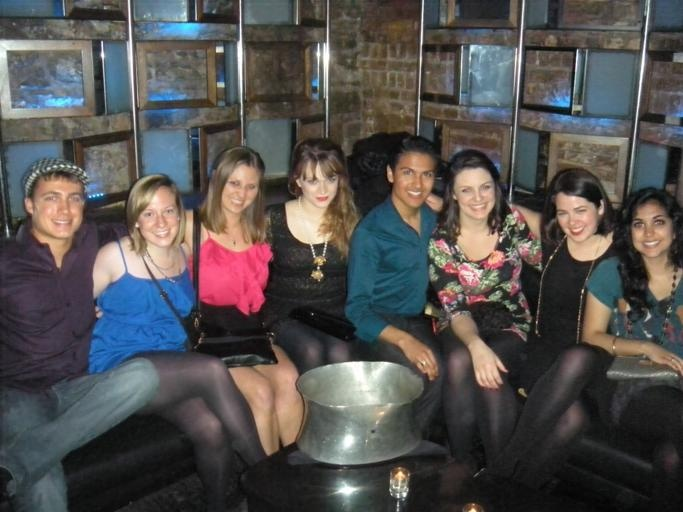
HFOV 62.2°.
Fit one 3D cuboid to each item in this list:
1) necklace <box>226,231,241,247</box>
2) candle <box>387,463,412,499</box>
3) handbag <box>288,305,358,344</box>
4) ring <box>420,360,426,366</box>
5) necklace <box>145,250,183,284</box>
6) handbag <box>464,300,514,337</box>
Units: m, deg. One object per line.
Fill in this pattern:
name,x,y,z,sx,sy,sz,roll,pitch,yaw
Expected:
necklace,-0.510,-0.082,2.691,0.073,0.072,0.016,18,-24,-33
candle,0.193,0.747,1.917,0.088,0.100,0.087,-7,15,-25
handbag,-0.072,0.306,2.605,0.214,0.052,0.163,25,11,15
ring,0.353,0.459,2.440,0.017,0.023,0.006,32,37,-3
necklace,-0.751,0.040,2.421,0.103,0.139,0.034,-10,-25,-40
handbag,0.688,0.284,2.605,0.159,0.066,0.161,-16,45,-7
